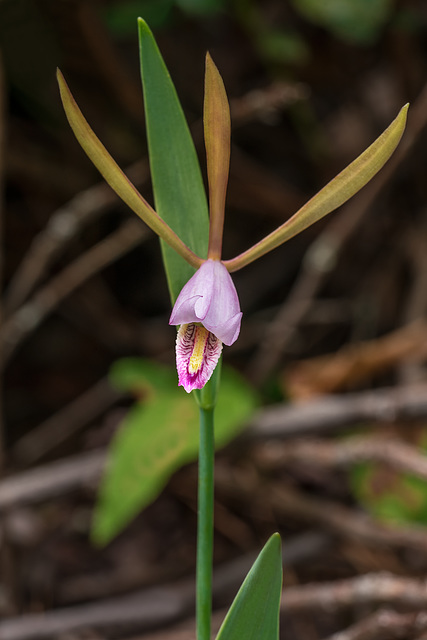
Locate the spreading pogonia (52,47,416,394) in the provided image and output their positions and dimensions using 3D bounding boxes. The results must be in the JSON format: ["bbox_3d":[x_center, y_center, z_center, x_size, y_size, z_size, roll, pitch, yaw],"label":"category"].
[{"bbox_3d":[0.009,-0.111,0.822,0.489,0.184,0.444,7,75,-3],"label":"spreading pogonia"}]
